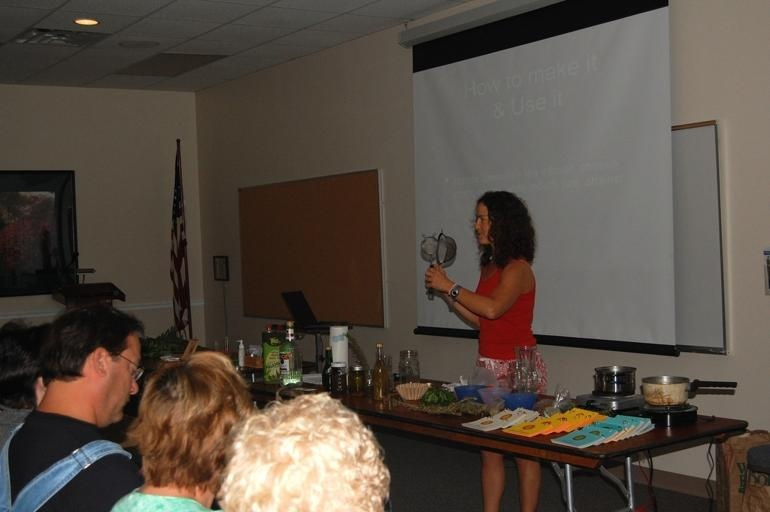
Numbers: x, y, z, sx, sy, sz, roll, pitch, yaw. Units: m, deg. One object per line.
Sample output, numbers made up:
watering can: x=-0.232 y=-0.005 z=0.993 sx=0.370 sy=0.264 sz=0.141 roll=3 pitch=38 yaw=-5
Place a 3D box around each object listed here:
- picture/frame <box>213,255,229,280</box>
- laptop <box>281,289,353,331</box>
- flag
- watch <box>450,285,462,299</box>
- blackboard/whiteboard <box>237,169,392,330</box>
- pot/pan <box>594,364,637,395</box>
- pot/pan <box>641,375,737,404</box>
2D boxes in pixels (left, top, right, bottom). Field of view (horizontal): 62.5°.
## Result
picture/frame: x=-2.232 y=0.168 z=8.667 sx=0.314 sy=0.321 sz=0.034 roll=-2 pitch=-1 yaw=44
laptop: x=-0.768 y=0.541 z=6.150 sx=0.493 sy=0.351 sz=0.544 roll=-2 pitch=0 yaw=-30
flag: x=-2.768 y=-0.257 z=8.533 sx=0.265 sy=2.757 sz=0.852 roll=-2 pitch=0 yaw=-18
watch: x=0.448 y=0.226 z=3.949 sx=0.068 sy=0.083 sz=0.099 roll=-2 pitch=0 yaw=-10
blackboard/whiteboard: x=-0.841 y=-0.058 z=7.280 sx=2.264 sy=1.738 sz=0.086 roll=-2 pitch=0 yaw=44
pot/pan: x=1.343 y=0.709 z=3.644 sx=0.172 sy=0.118 sz=0.185 roll=-5 pitch=-10 yaw=41
pot/pan: x=1.732 y=0.726 z=3.448 sx=0.611 sy=0.176 sz=0.314 roll=1 pitch=-7 yaw=0
